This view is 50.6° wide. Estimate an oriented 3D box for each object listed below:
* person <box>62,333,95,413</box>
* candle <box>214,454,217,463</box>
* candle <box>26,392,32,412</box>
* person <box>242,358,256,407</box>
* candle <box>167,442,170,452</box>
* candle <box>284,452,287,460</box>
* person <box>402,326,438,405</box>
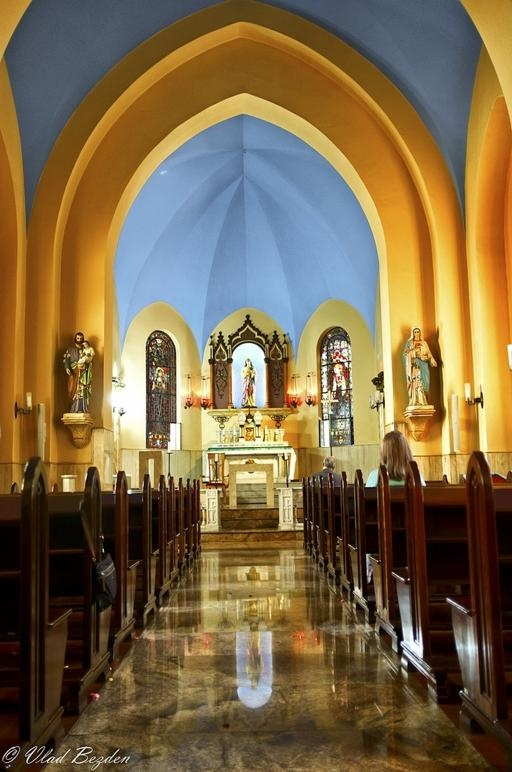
[{"bbox_3d":[-3.117,-0.220,9.475,0.488,1.385,0.429,3,-11,-10],"label":"person"},{"bbox_3d":[-1.139,2.076,15.481,0.110,0.255,0.358,1,-13,-3],"label":"candle"},{"bbox_3d":[-3.809,0.252,9.096,0.094,0.366,0.296,4,-12,-19],"label":"candle"},{"bbox_3d":[-0.233,-0.107,17.216,0.407,1.784,0.411,-7,-29,10],"label":"person"},{"bbox_3d":[-2.688,1.871,16.657,0.070,0.318,0.415,3,-13,-10],"label":"candle"},{"bbox_3d":[0.809,1.971,15.104,0.087,0.197,0.193,0,-12,4],"label":"candle"},{"bbox_3d":[2.911,-0.301,9.654,0.508,1.347,0.509,0,-11,3],"label":"person"}]
